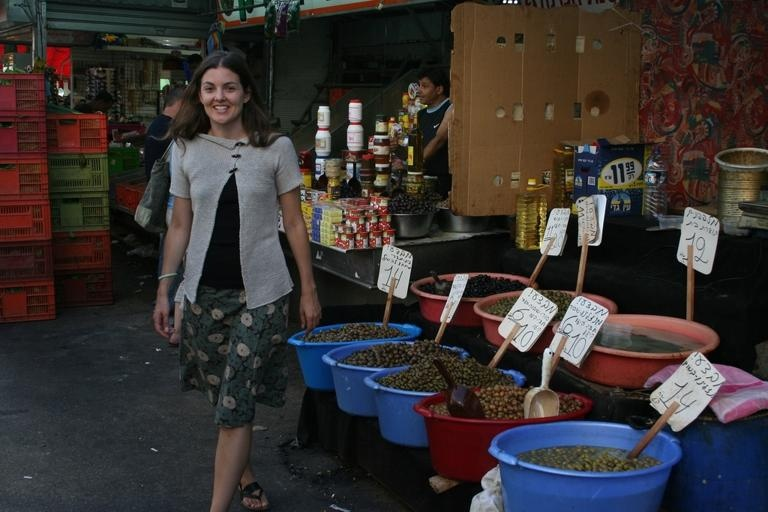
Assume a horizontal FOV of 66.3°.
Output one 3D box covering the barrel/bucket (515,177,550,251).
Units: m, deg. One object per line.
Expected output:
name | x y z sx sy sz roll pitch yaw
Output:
barrel/bucket | 1.062 -0.303 4.221 0.251 0.520 0.230 1 -11 0

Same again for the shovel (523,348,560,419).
shovel | 0.691 0.550 2.578 0.120 0.295 0.123 4 -9 -4

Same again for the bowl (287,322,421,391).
bowl | -0.097 0.585 3.626 0.790 0.370 0.892 -3 -16 -8

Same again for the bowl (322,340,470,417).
bowl | 0.091 0.639 3.407 0.885 0.377 0.753 0 -2 1

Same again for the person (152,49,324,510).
person | -0.671 0.080 2.768 0.681 2.006 0.606 -12 19 -39

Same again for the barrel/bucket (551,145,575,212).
barrel/bucket | 1.312 -0.588 4.319 0.142 0.453 0.261 4 15 13

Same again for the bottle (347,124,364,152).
bottle | -0.229 -0.972 4.806 0.121 0.228 0.184 -2 15 -9

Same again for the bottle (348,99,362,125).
bottle | -0.232 -1.180 4.802 0.092 0.192 0.151 -3 15 -10

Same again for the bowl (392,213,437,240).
bowl | 0.222 -0.235 4.387 0.246 0.101 0.236 -1 0 0

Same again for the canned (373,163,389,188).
canned | -0.015 -0.642 4.673 0.133 0.191 0.085 -2 15 -7

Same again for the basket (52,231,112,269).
basket | -3.150 -0.079 6.173 0.711 0.429 0.374 -1 1 -15

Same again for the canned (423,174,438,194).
canned | 0.394 -0.591 4.811 0.154 0.107 0.151 2 5 33

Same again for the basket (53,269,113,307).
basket | -3.147 0.326 6.174 0.533 0.361 0.107 -2 15 -9

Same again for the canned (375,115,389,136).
canned | -0.022 -1.051 4.721 0.154 0.157 0.152 -10 15 -43

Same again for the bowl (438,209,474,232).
bowl | 0.541 -0.265 4.529 0.208 0.094 0.205 0 9 0

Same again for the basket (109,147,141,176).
basket | -4.274 -1.601 9.730 0.604 0.372 0.568 -12 22 -39
